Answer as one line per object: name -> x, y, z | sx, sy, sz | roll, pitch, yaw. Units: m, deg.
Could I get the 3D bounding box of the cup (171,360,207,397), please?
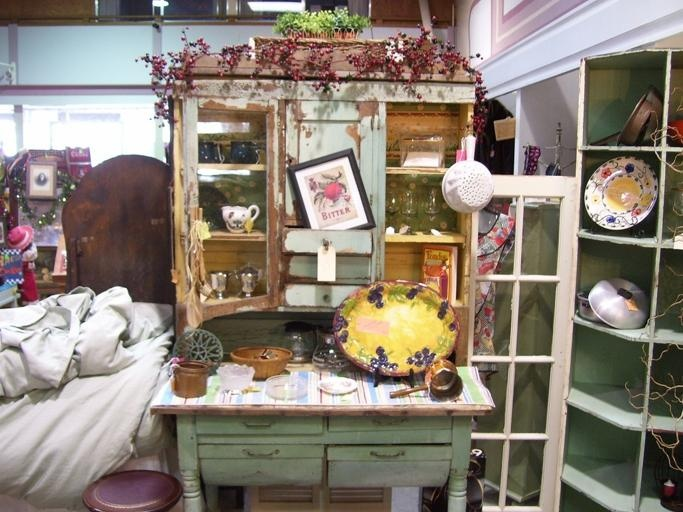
cup -> -0.779, 0.634, 3.363 | 0.184, 0.156, 0.158 | 1, 7, -8

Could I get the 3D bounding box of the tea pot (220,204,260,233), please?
tea pot -> -0.563, -0.215, 3.637 | 0.172, 0.144, 0.143 | 2, 6, -5

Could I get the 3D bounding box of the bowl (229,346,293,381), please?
bowl -> -0.443, 0.558, 3.621 | 0.287, 0.157, 0.325 | -4, 11, -34

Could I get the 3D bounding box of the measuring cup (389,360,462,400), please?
measuring cup -> 0.439, 0.648, 3.384 | 0.370, 0.185, 0.348 | 4, 14, -1

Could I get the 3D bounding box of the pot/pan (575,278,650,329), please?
pot/pan -> 1.480, 0.254, 3.558 | 0.363, 0.248, 0.206 | 5, 7, 25

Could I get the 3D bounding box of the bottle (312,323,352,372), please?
bottle -> -0.056, 0.510, 3.715 | 0.182, 0.229, 0.175 | 0, 15, 0

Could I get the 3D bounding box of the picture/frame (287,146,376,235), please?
picture/frame -> -0.056, -0.379, 3.570 | 0.325, 0.403, 0.040 | -18, 9, -5

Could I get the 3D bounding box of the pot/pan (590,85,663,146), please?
pot/pan -> 1.593, -0.735, 3.454 | 0.271, 0.306, 0.175 | -4, 9, -42

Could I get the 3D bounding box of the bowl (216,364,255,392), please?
bowl -> -0.550, 0.625, 3.411 | 0.133, 0.080, 0.137 | 1, 10, 0

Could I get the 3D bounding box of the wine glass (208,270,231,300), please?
wine glass -> -0.678, 0.159, 3.641 | 0.122, 0.134, 0.122 | -7, 10, -25

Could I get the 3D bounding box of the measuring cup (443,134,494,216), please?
measuring cup -> 0.657, -0.444, 3.506 | 0.185, 0.446, 0.259 | 2, 11, -8

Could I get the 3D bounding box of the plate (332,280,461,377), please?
plate -> 0.287, 0.379, 3.703 | 0.561, 0.566, 0.294 | 2, 11, -4

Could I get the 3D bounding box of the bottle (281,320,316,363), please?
bottle -> -0.244, 0.495, 3.793 | 0.181, 0.226, 0.196 | 0, 7, -2

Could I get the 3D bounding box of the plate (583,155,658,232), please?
plate -> 1.501, -0.342, 3.515 | 0.361, 0.383, 0.131 | 5, 7, 25

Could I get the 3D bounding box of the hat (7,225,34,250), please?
hat -> -2.743, -0.156, 5.606 | 0.191, 0.184, 0.270 | -4, 9, -40
